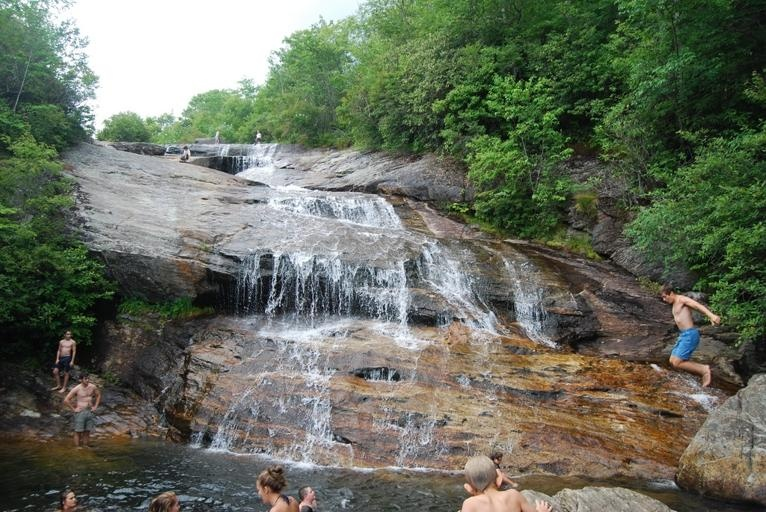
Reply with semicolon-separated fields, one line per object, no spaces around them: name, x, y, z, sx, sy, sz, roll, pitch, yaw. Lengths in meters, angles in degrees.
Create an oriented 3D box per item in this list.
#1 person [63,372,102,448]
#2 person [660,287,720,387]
person;-9.048;4.662;17.605;0.897;1.987;1.293;8;-17;-23
person;8.606;2.208;16.498;1.170;2.771;1.597;-7;-18;24
